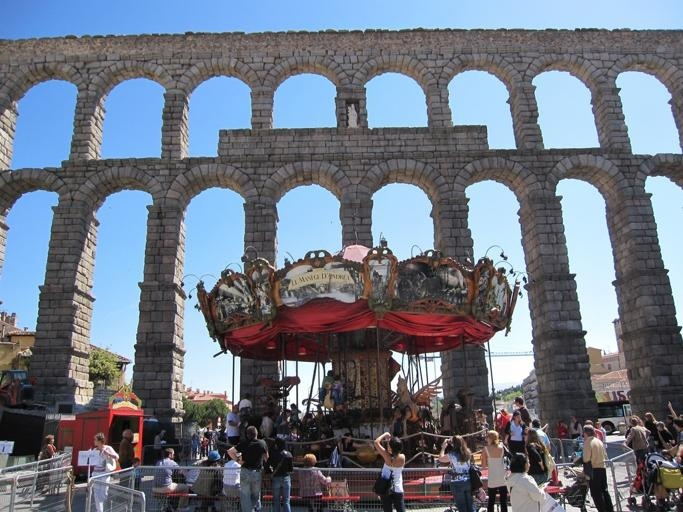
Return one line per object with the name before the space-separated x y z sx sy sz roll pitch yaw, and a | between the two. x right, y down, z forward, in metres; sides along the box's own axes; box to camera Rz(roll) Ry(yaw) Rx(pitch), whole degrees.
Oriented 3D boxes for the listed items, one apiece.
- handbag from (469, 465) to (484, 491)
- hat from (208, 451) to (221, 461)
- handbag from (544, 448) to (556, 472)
handbag | 2.650 4.419 10.385 0.214 0.537 0.604 -5 -20 12
hat | -3.052 4.801 12.578 0.248 0.182 0.329 3 4 -17
handbag | 4.338 4.315 10.951 0.159 0.521 0.672 -7 -21 19
